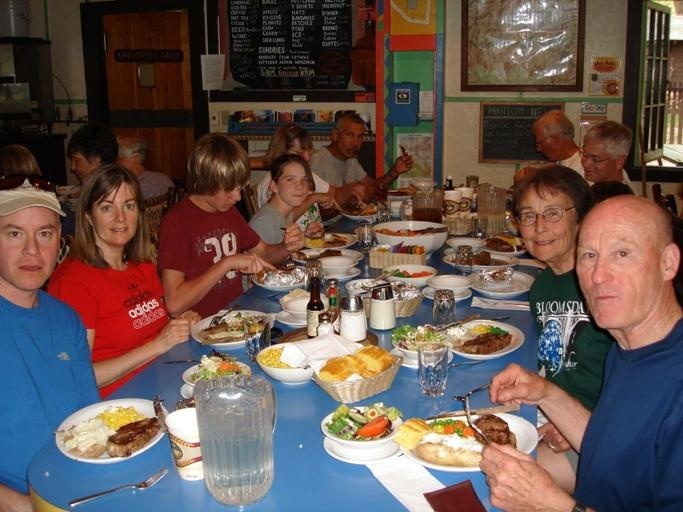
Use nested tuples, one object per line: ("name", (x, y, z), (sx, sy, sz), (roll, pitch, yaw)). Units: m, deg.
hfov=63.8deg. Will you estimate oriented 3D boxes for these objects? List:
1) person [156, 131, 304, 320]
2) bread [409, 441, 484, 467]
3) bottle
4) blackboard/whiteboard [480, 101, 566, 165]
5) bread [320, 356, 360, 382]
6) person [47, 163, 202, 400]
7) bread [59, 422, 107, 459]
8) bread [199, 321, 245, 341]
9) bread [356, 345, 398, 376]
("person", (-0.690, 0.072, 3.341), (0.869, 1.550, 0.662), (-5, 25, -25))
("bread", (0.323, 0.596, 1.656), (0.144, 0.042, 0.079), (5, 2, 4))
("bottle", (0.014, 0.234, 2.316), (0.265, 0.252, 0.155), (0, 15, -4))
("blackboard/whiteboard", (2.077, -1.461, 6.496), (0.890, 0.726, 0.023), (1, 0, 1))
("bread", (-0.010, 0.392, 1.930), (0.085, 0.030, 0.091), (-9, 23, -23))
("person", (-0.958, 0.169, 2.579), (0.613, 1.124, 0.675), (-3, 9, 18))
("bread", (-0.804, 0.570, 1.720), (0.102, 0.041, 0.112), (-3, 27, -13))
("bread", (-0.519, 0.332, 2.414), (0.114, 0.025, 0.115), (2, 11, 22))
("bread", (0.129, 0.357, 1.994), (0.089, 0.063, 0.126), (-20, 31, -36))
